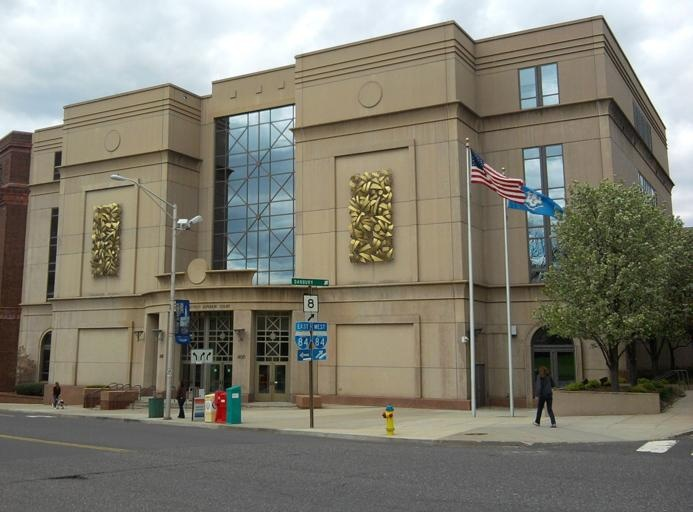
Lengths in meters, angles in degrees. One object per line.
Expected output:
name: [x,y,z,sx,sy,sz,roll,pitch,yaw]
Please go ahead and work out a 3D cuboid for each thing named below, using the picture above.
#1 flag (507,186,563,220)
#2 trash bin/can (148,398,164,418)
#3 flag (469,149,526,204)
flag: [9.753,-2.643,34.035,2.835,1.824,0.781,26,-10,-22]
trash bin/can: [-10.020,7.955,35.160,0.848,1.079,0.902,1,0,13]
flag: [8.247,-4.212,35.817,3.124,3.292,0.440,13,-18,-18]
